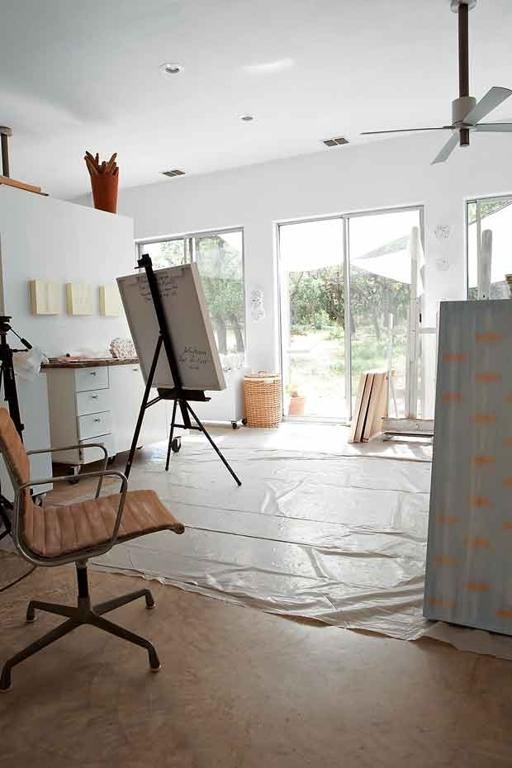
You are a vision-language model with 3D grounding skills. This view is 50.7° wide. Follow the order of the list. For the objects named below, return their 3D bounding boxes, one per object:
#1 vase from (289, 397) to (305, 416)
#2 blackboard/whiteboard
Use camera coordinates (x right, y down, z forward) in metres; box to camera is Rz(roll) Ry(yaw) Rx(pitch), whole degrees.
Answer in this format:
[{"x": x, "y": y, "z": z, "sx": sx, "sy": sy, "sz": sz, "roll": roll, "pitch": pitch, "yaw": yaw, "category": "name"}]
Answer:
[{"x": 0.469, "y": 0.256, "z": 6.218, "sx": 0.199, "sy": 0.225, "sz": 0.202, "roll": 0, "pitch": -2, "yaw": 5, "category": "vase"}, {"x": -0.542, "y": -0.322, "z": 3.312, "sx": 0.238, "sy": 0.733, "sz": 0.800, "roll": -6, "pitch": 6, "yaw": -45, "category": "blackboard/whiteboard"}]
